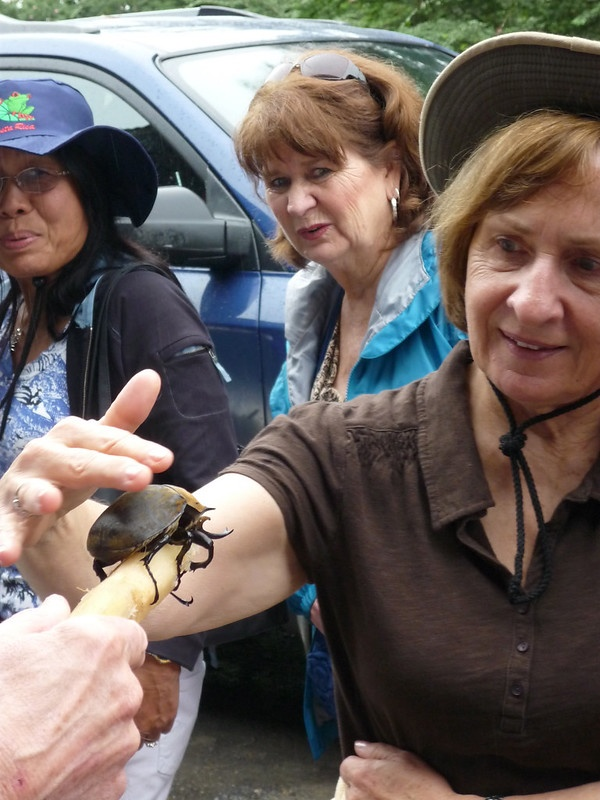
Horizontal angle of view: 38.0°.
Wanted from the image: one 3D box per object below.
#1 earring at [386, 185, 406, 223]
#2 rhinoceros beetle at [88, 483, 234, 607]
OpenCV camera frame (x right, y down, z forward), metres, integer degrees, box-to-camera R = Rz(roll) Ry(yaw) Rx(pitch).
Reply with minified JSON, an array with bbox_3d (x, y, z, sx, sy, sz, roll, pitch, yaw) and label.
[{"bbox_3d":[0.300,-0.614,2.726,0.043,0.085,0.072,1,4,-12],"label":"earring"},{"bbox_3d":[-0.240,0.233,1.477,0.132,0.190,0.220,5,19,31],"label":"rhinoceros beetle"}]
